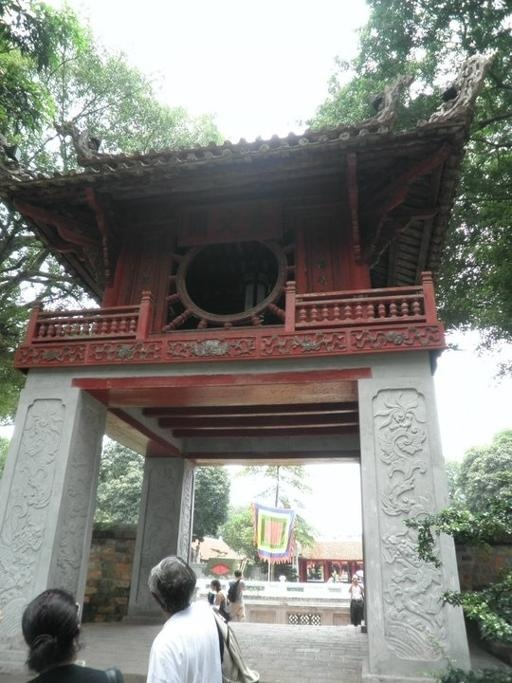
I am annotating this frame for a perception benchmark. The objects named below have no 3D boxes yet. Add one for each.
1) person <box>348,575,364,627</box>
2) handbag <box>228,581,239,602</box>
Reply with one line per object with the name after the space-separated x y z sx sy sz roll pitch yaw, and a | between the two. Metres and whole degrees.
1.992 5.150 9.653 0.254 0.910 0.751 -2 -23 10 | person
-0.382 4.252 8.261 0.200 0.297 0.326 5 -24 0 | handbag
